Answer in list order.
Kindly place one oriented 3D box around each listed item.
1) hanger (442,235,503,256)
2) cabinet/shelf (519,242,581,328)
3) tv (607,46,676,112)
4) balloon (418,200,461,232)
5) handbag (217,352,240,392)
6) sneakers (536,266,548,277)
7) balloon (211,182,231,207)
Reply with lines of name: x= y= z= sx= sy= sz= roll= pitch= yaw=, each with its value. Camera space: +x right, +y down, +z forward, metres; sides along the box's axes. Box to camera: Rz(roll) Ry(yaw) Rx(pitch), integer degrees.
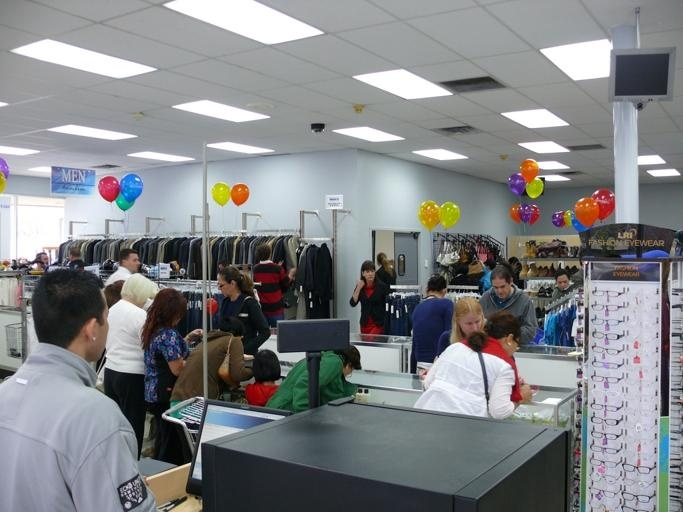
hanger: x=3.126 y=-0.300 z=12.563 sx=0.762 sy=0.460 sz=1.307 roll=-2 pitch=10 yaw=3
cabinet/shelf: x=3.511 y=0.452 z=8.607 sx=0.652 sy=1.406 sz=1.333 roll=-1 pitch=1 yaw=13
tv: x=2.279 y=-1.360 z=3.917 sx=0.428 sy=0.391 sz=0.270 roll=0 pitch=0 yaw=27
balloon: x=1.834 y=-0.745 z=9.793 sx=0.785 sy=0.781 sz=0.495 roll=2 pitch=-1 yaw=-16
handbag: x=-0.811 y=0.819 z=3.707 sx=0.076 sy=0.255 sz=0.244 roll=2 pitch=-16 yaw=14
sneakers: x=4.516 y=0.363 z=11.557 sx=0.170 sy=0.185 sz=0.230 roll=-1 pitch=7 yaw=8
balloon: x=-2.148 y=-1.121 z=9.287 sx=0.310 sy=0.388 sz=0.382 roll=0 pitch=0 yaw=-16
